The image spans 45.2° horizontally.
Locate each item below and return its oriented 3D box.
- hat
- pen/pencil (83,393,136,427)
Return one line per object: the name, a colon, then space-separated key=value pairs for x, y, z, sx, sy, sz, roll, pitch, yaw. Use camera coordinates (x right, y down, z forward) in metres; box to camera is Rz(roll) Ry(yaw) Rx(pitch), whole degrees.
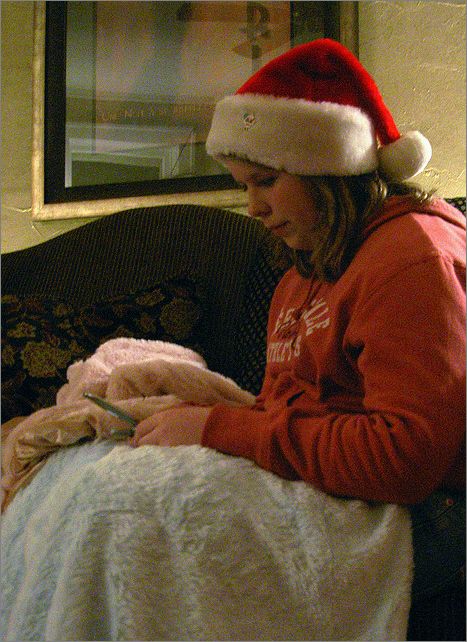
hat: x=0.115 y=-0.271 z=0.799 sx=0.270 sy=0.157 sz=0.183 roll=7 pitch=6 yaw=5
pen/pencil: x=-0.181 y=0.133 z=0.819 sx=0.076 sy=0.007 sz=0.027 roll=34 pitch=2 yaw=-14
